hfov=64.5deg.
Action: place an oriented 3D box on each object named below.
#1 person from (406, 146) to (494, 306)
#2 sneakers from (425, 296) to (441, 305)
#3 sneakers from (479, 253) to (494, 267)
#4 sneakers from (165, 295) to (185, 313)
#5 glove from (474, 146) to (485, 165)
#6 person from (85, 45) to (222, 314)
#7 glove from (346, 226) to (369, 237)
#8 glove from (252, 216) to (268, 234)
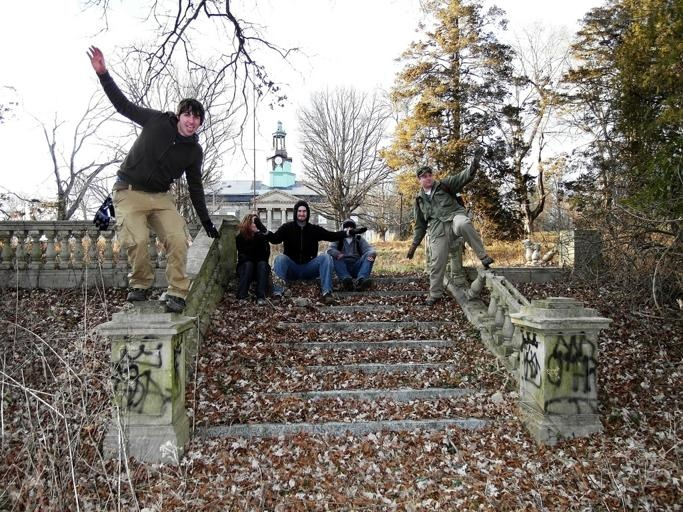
[{"bbox_3d":[1.900,-0.379,9.719,1.362,2.460,0.710,0,4,30],"label":"person"},{"bbox_3d":[1.660,0.823,9.811,0.307,0.149,0.116,6,-14,-39],"label":"sneakers"},{"bbox_3d":[2.446,0.092,9.066,0.177,0.241,0.226,-11,-6,-7],"label":"sneakers"},{"bbox_3d":[-2.061,0.621,6.696,0.226,0.251,0.324,-3,4,-17],"label":"sneakers"},{"bbox_3d":[2.245,-1.642,8.922,0.179,0.296,0.284,-1,4,12],"label":"glove"},{"bbox_3d":[-2.353,-0.886,6.929,1.264,3.284,0.915,-3,3,-19],"label":"person"},{"bbox_3d":[0.309,-0.482,10.454,0.137,0.191,0.516,-2,3,-36],"label":"glove"},{"bbox_3d":[-1.468,-0.567,9.964,0.218,0.329,0.574,-2,4,-4],"label":"glove"}]
